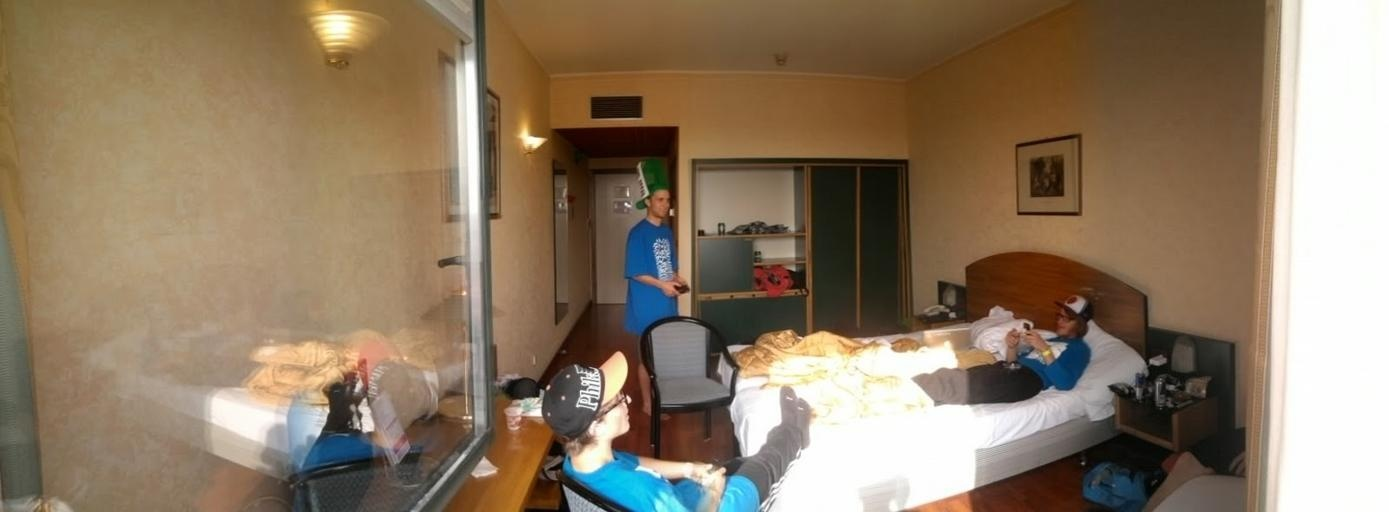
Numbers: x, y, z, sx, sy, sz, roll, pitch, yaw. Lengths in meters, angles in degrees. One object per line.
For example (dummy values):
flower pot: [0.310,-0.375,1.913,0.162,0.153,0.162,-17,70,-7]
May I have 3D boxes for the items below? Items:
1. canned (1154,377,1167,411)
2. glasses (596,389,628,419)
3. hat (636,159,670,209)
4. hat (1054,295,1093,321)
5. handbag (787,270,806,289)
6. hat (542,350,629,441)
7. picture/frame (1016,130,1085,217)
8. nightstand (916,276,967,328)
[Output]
canned: [3.725,1.102,6.113,0.080,0.218,0.131,2,7,29]
glasses: [-0.517,0.943,4.853,0.192,0.042,0.164,-16,10,12]
hat: [-0.389,-0.670,6.947,0.254,0.441,0.429,-2,6,-10]
hat: [3.376,0.457,6.701,0.306,0.127,0.192,21,3,15]
handbag: [1.177,0.274,8.609,0.320,0.208,0.191,2,-14,5]
hat: [-0.698,0.895,4.862,0.518,0.518,0.214,-3,6,-17]
picture/frame: [3.282,-0.735,7.048,0.035,0.732,0.608,-7,8,-38]
nightstand: [2.668,0.453,8.033,0.583,0.513,0.652,0,4,-2]
